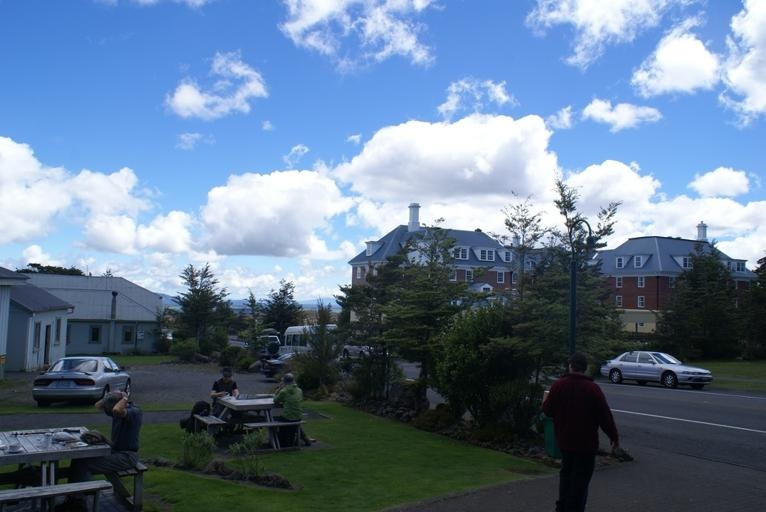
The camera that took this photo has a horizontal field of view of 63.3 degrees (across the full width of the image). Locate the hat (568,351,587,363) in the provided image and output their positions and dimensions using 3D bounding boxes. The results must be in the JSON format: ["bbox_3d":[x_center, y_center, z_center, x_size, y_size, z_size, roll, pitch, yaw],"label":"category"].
[{"bbox_3d":[4.209,2.204,13.466,0.273,0.282,0.289,5,-18,-4],"label":"hat"}]

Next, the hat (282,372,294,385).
[{"bbox_3d":[-2.699,3.483,17.675,0.297,0.313,0.346,3,6,-3],"label":"hat"}]

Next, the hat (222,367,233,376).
[{"bbox_3d":[-4.673,3.475,18.689,0.249,0.293,0.278,17,4,6],"label":"hat"}]

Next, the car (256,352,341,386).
[{"bbox_3d":[-5.255,6.273,35.056,3.172,0.943,1.394,-7,8,-31],"label":"car"}]

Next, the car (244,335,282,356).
[{"bbox_3d":[-9.011,6.758,46.851,2.419,1.171,1.313,-1,2,10],"label":"car"}]

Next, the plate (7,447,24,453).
[{"bbox_3d":[-7.550,3.966,12.750,0.252,0.099,0.426,7,-11,-30],"label":"plate"}]
